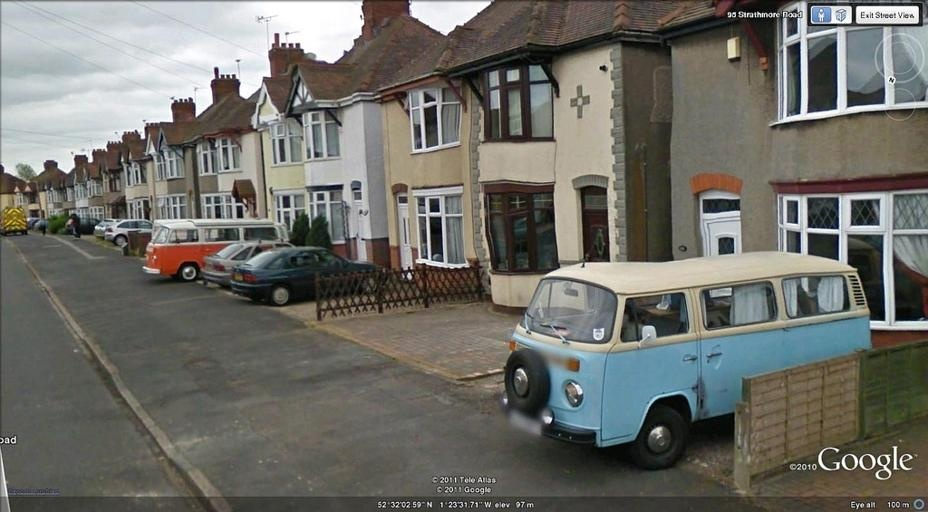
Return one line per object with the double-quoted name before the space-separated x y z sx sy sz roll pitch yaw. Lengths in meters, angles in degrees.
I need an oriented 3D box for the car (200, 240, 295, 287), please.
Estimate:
"car" -8.491 0.239 31.818 3.797 1.397 1.725 -7 8 -36
